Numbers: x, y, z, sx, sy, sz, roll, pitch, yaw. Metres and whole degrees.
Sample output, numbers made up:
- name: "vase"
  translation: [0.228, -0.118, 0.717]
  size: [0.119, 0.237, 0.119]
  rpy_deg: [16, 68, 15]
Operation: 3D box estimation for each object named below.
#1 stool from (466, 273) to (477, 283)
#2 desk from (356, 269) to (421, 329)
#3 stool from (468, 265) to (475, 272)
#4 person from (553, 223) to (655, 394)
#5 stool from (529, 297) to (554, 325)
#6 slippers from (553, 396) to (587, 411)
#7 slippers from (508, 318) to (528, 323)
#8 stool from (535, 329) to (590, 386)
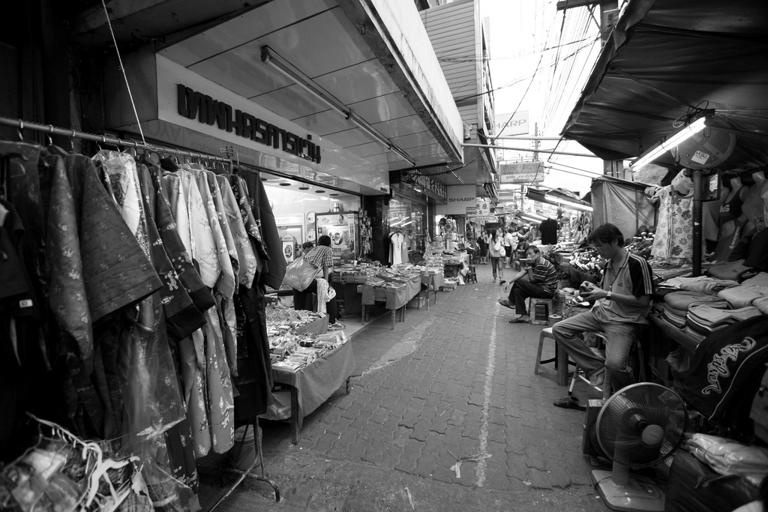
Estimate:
- name: "stool"
  translation: [2.686, 0.698, 16.585]
  size: [0.284, 0.303, 0.308]
  rpy_deg: [3, -5, -20]
- name: "desk"
  translation: [0.084, 0.771, 9.880]
  size: [0.757, 0.881, 1.538]
  rpy_deg: [2, 4, 17]
- name: "stool"
  translation: [2.662, 0.392, 16.325]
  size: [0.208, 0.162, 0.216]
  rpy_deg: [0, 3, 30]
- name: "person"
  translation: [2.404, 0.553, 5.922]
  size: [0.646, 1.795, 0.933]
  rpy_deg: [-1, 5, -22]
- name: "stool"
  translation: [2.841, 0.986, 9.861]
  size: [0.485, 0.497, 0.480]
  rpy_deg: [-1, 4, -2]
- name: "slippers"
  translation: [2.119, 1.687, 6.180]
  size: [0.393, 0.162, 0.137]
  rpy_deg: [1, -1, 15]
- name: "slippers"
  translation: [2.484, 1.190, 9.922]
  size: [0.326, 0.133, 0.122]
  rpy_deg: [2, -5, -8]
- name: "stool"
  translation: [2.197, 1.295, 7.087]
  size: [0.558, 0.535, 0.551]
  rpy_deg: [9, -4, -24]
